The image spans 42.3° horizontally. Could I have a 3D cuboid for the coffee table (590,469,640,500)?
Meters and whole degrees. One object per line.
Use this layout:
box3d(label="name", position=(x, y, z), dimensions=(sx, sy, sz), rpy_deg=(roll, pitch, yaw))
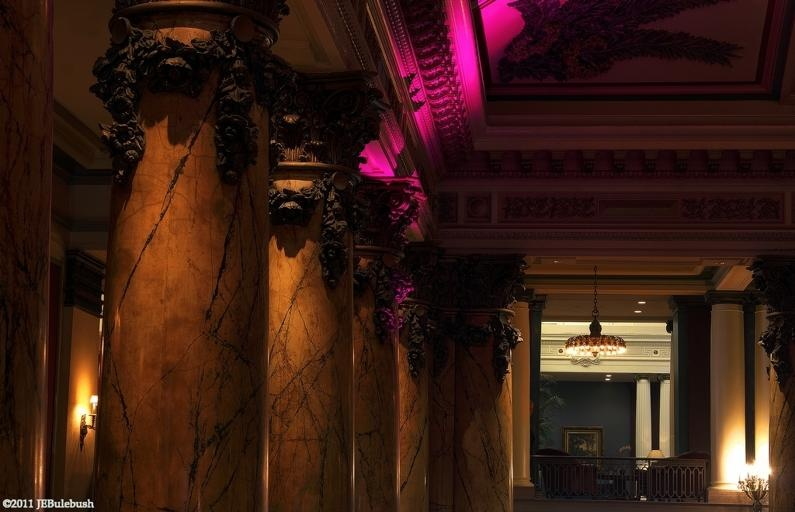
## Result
box3d(label="coffee table", position=(4.272, 4.536, 20.264), dimensions=(0.823, 0.523, 0.846), rpy_deg=(3, -27, -3))

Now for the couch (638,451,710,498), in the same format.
box3d(label="couch", position=(5.351, 4.374, 20.050), dimensions=(1.715, 0.885, 1.728), rpy_deg=(4, -14, -10))
